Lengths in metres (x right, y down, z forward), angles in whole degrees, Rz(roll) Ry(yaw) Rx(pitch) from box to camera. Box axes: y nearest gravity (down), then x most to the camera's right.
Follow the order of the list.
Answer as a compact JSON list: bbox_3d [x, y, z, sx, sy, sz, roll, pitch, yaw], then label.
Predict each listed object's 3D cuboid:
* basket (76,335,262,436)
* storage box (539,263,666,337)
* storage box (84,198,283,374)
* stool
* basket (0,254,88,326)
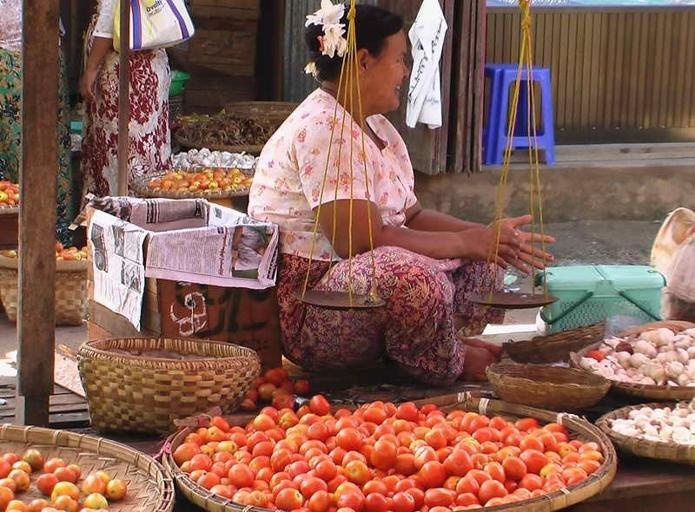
[{"bbox_3d":[-0.635,0.467,3.238,0.461,0.210,0.408,2,-3,-4],"label":"basket"},{"bbox_3d":[1.162,0.186,4.167,0.492,0.321,0.352,-3,10,-1],"label":"storage box"},{"bbox_3d":[-0.709,0.099,3.824,0.622,0.580,0.837,-7,17,-33],"label":"storage box"},{"bbox_3d":[1.326,-1.034,6.871,0.689,0.682,0.671,-4,6,-42],"label":"stool"},{"bbox_3d":[-1.523,0.137,4.525,0.403,0.313,0.439,2,3,-19],"label":"basket"}]
